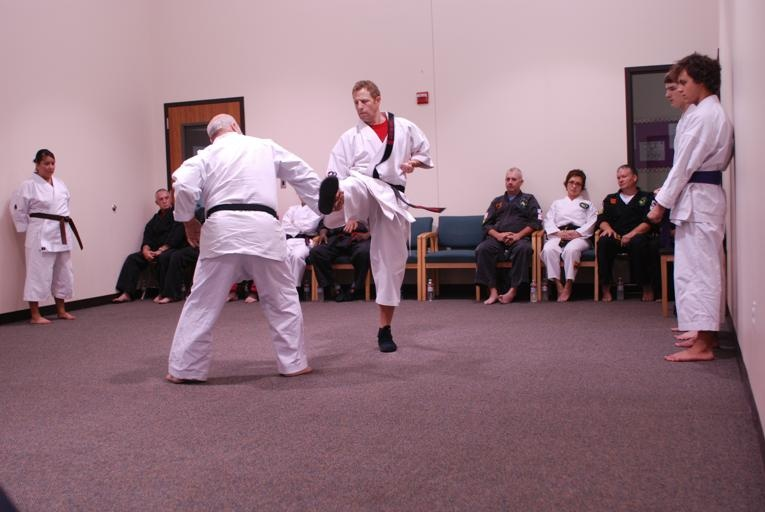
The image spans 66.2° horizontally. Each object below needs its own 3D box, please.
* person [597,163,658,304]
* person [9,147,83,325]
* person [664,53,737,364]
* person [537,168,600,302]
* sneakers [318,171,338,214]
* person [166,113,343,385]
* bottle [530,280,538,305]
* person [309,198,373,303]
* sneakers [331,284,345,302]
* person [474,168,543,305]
[{"bbox_3d":[2.581,-0.263,6.200,0.578,1.375,0.591,1,7,25],"label":"person"},{"bbox_3d":[-3.386,-0.199,5.935,0.374,1.734,0.537,4,9,44],"label":"person"},{"bbox_3d":[2.008,-0.317,3.769,0.397,1.946,0.579,2,8,36],"label":"person"},{"bbox_3d":[2.061,-0.251,6.446,0.570,1.391,0.926,0,7,20],"label":"person"},{"bbox_3d":[-0.334,-0.385,3.715,0.095,0.278,0.108,10,30,-7],"label":"sneakers"},{"bbox_3d":[-0.892,-0.046,3.687,0.992,1.633,0.476,-5,7,-22],"label":"person"},{"bbox_3d":[1.608,0.386,6.237,0.077,0.207,0.224,0,7,15],"label":"bottle"},{"bbox_3d":[-0.500,0.089,7.107,0.730,1.057,0.872,0,1,4],"label":"person"},{"bbox_3d":[-0.522,0.443,6.889,0.163,0.202,0.496,0,-3,-4],"label":"sneakers"},{"bbox_3d":[1.389,-0.242,6.434,0.677,1.424,0.851,0,7,16],"label":"person"}]
